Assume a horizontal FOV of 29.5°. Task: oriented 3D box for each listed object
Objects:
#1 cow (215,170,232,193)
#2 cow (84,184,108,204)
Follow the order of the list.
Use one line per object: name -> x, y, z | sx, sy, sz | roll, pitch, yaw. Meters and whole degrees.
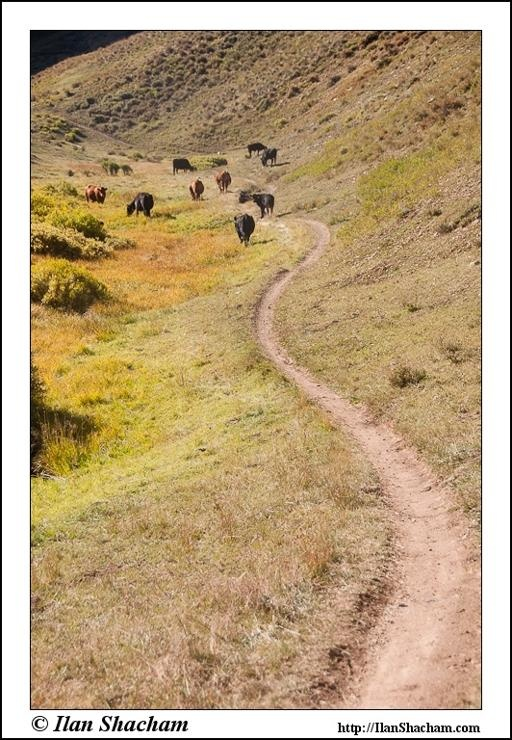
cow -> -1.999, -11.624, 60.260 | 0.810, 1.304, 2.240 | -6, 13, -2
cow -> -6.444, -7.069, 39.408 | 0.563, 0.783, 1.431 | -5, 13, 6
